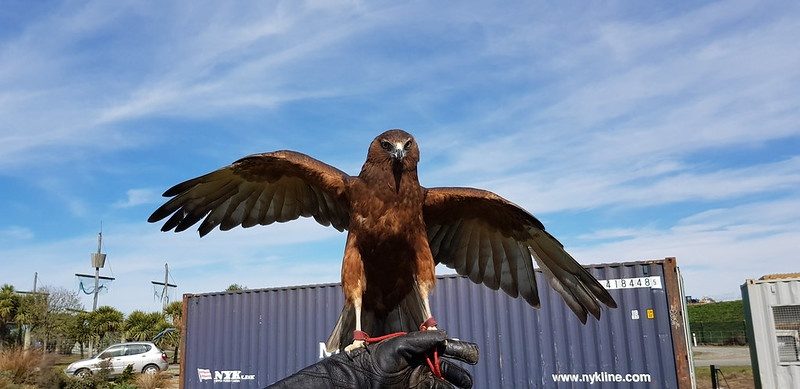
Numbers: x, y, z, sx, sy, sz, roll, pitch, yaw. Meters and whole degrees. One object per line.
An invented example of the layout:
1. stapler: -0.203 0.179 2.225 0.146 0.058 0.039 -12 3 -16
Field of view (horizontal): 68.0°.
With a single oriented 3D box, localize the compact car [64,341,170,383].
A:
1. compact car: -17.408 10.144 35.457 6.111 2.072 2.701 3 -18 -7
